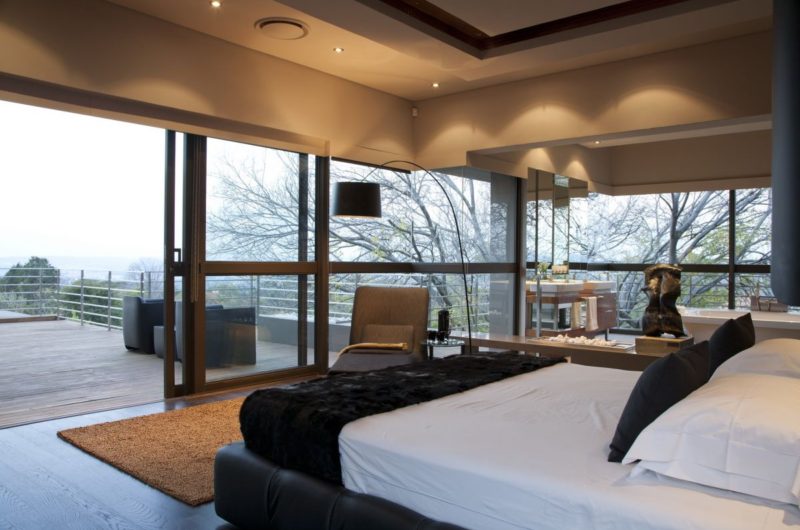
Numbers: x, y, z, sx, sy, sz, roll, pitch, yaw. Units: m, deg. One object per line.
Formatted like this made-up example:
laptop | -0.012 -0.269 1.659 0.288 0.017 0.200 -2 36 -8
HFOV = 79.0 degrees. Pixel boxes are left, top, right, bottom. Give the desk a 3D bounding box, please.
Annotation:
desk | 2.507 0.693 7.130 0.847 0.796 2.036 -4 -5 41

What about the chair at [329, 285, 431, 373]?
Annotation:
chair | -0.179 0.724 4.742 0.864 0.670 1.165 1 20 15
